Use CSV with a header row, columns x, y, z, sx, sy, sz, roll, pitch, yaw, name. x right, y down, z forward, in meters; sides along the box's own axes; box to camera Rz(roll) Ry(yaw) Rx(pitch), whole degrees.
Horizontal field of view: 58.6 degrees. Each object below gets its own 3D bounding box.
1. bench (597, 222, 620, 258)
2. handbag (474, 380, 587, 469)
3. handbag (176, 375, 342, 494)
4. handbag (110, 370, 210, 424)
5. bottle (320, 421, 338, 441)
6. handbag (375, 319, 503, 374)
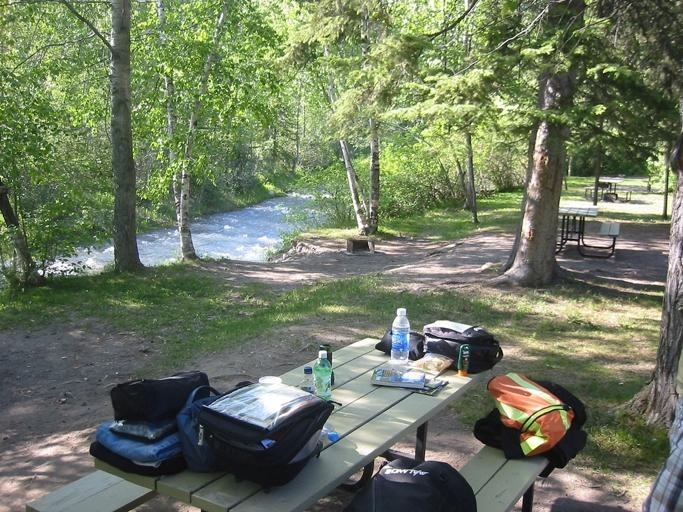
x,y,z,sx,sy,sz,roll,pitch,yaw,name
7.535,-0.425,17.127,0.793,1.266,0.673,1,-36,25,bench
2.000,1.743,6.006,0.981,0.318,0.940,-25,28,-15,handbag
-0.767,1.492,5.225,1.018,0.483,0.853,3,12,8,handbag
-1.639,1.246,5.473,0.414,0.226,0.671,1,-2,25,handbag
-0.125,1.603,5.549,0.105,0.077,0.187,-11,11,-19,bottle
1.152,0.938,6.622,0.934,0.275,0.642,4,8,26,handbag
